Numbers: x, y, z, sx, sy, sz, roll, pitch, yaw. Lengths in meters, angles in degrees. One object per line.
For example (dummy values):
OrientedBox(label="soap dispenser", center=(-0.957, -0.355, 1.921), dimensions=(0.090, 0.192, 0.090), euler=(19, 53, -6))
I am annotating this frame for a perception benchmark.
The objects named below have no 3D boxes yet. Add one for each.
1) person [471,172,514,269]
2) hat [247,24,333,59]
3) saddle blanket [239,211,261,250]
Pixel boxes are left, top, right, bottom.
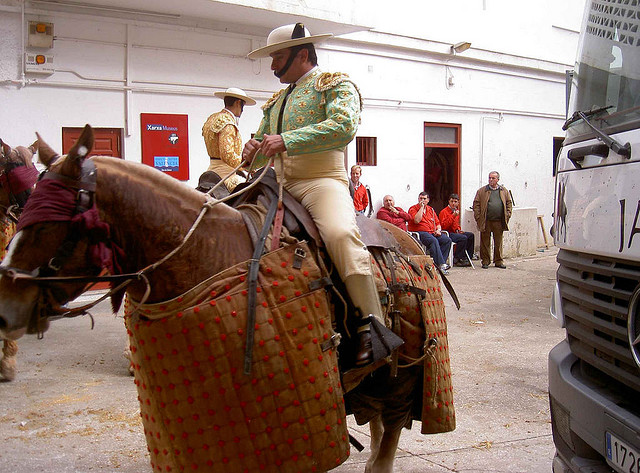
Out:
OrientedBox(label="person", center=(4.325, -0.433, 12.387), dimensions=(0.925, 2.344, 0.737), euler=(1, 6, 17))
OrientedBox(label="hat", center=(-0.217, -1.151, 3.065), dimensions=(0.517, 0.249, 0.360), euler=(-6, 21, -38))
OrientedBox(label="saddle blanket", center=(-0.334, -0.039, 2.436), dimensions=(0.042, 0.166, 0.121), euler=(-27, -15, 16))
